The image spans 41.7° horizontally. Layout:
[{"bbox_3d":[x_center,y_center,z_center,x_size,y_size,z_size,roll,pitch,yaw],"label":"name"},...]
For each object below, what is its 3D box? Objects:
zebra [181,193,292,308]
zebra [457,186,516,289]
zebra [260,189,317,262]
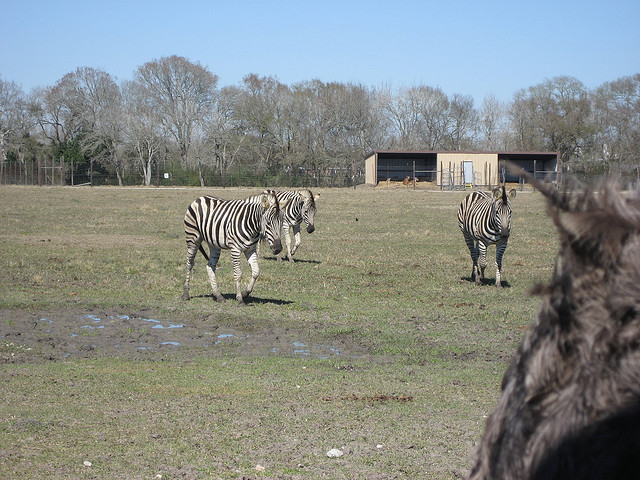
[{"bbox_3d":[-1.970,0.216,18.496,3.209,2.628,0.889,5,4,44],"label":"zebra"},{"bbox_3d":[4.227,-0.120,21.349,0.703,2.381,2.880,0,6,-4],"label":"zebra"},{"bbox_3d":[-1.069,-0.489,26.870,0.820,2.356,3.180,-1,4,-31],"label":"zebra"}]
